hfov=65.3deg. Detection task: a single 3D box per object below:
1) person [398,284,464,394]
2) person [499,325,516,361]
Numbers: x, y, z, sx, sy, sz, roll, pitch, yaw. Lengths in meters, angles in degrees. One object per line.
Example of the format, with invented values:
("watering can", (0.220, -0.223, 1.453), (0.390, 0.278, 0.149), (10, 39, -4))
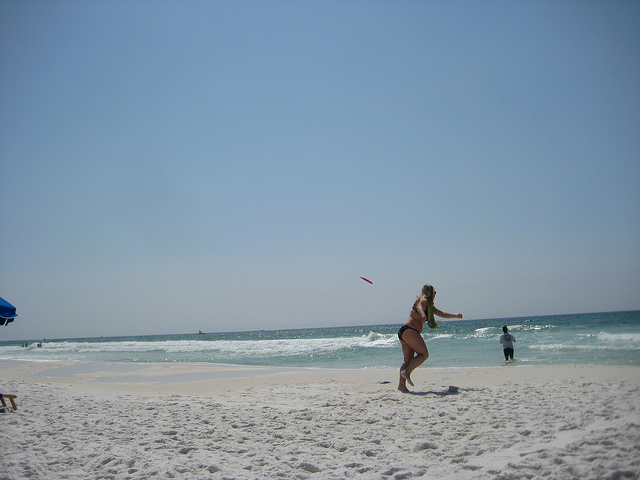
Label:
("person", (1.860, 1.907, 9.490), (0.639, 1.994, 1.148), (6, -11, -29))
("person", (6.695, 3.688, 17.806), (0.418, 1.171, 2.486), (-4, -11, 20))
